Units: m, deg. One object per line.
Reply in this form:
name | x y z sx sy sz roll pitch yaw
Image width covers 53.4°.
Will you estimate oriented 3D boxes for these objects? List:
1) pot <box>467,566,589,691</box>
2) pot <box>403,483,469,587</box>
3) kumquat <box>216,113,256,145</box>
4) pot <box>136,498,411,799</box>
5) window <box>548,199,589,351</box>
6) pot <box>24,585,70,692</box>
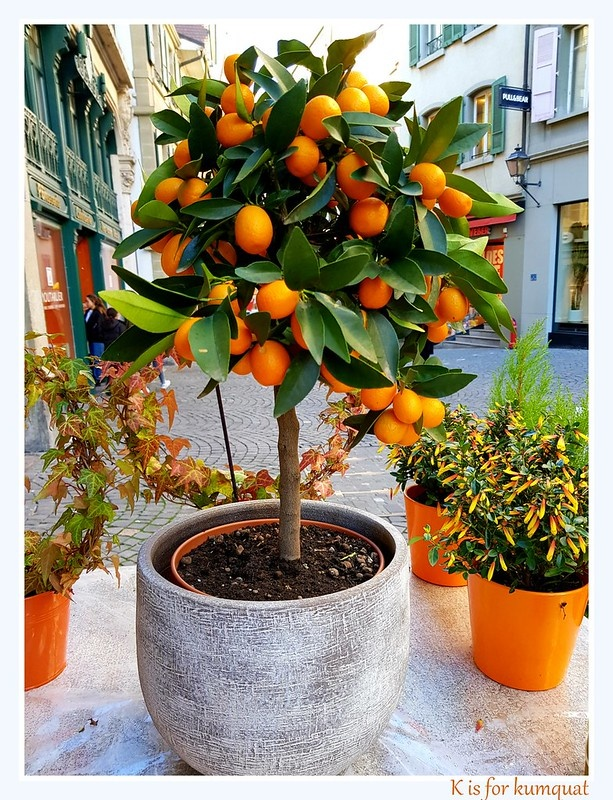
pot | 0.821 0.839 2.336 0.425 0.317 0.418 0 -3 0
pot | 0.589 0.697 3.060 0.430 0.446 0.466 -1 9 0
kumquat | -0.162 -0.603 1.357 0.096 0.074 0.074 2 15 13
pot | -0.077 0.553 1.813 0.779 0.565 0.769 0 1 0
window | 6.270 -2.956 14.476 0.624 3.326 0.977 -5 15 -14
pot | -0.979 0.894 2.316 0.077 0.401 0.228 3 15 18
